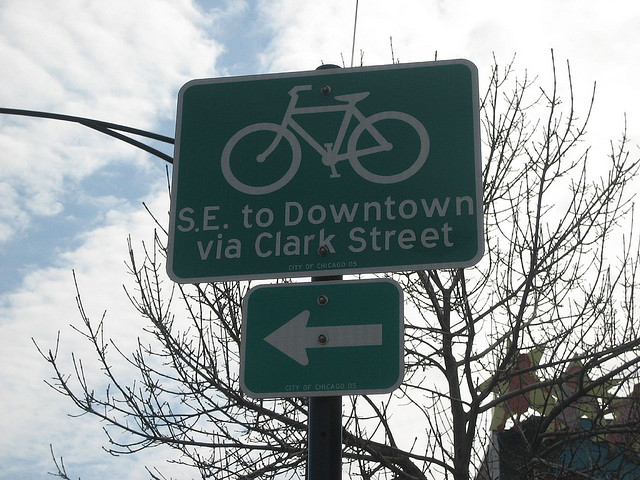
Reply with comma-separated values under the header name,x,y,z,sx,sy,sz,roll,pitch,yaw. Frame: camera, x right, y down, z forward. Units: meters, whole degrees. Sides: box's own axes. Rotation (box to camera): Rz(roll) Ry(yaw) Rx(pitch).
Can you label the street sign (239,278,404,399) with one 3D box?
name,x,y,z,sx,sy,sz,roll,pitch,yaw
street sign,0.044,0.708,6.948,0.851,0.768,0.074,1,-14,0
